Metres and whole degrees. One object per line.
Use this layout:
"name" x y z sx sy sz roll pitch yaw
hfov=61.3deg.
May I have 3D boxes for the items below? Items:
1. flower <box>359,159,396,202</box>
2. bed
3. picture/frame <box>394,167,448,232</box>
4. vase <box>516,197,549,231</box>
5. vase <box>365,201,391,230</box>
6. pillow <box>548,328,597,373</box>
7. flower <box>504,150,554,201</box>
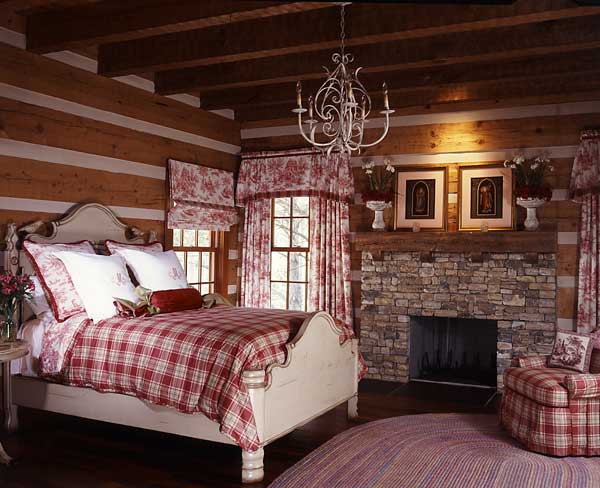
"flower" 0.947 -0.784 6.214 0.440 0.572 0.329 -1 -2 19
"bed" -1.088 0.697 4.711 2.853 1.866 1.918 0 1 23
"picture/frame" 1.492 -0.521 6.081 0.980 0.954 0.078 1 -2 19
"vase" 2.546 -0.329 5.564 0.265 0.370 0.284 0 -2 2
"vase" 0.964 -0.349 6.159 0.373 0.347 0.366 -3 6 -41
"pillow" 2.185 0.851 4.051 0.092 0.271 0.327 21 -7 -32
"flower" 2.522 -0.746 5.554 0.492 0.557 0.320 -1 -2 23
